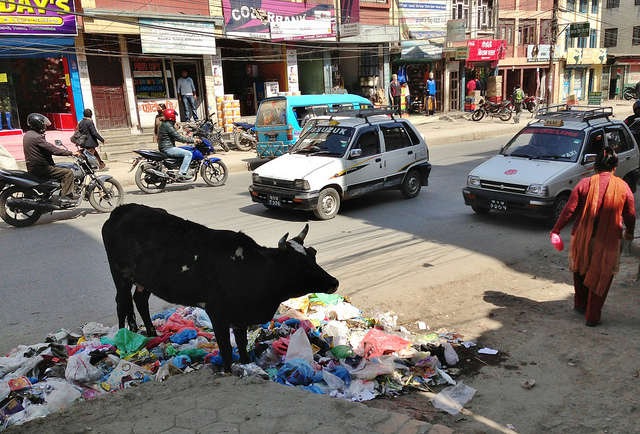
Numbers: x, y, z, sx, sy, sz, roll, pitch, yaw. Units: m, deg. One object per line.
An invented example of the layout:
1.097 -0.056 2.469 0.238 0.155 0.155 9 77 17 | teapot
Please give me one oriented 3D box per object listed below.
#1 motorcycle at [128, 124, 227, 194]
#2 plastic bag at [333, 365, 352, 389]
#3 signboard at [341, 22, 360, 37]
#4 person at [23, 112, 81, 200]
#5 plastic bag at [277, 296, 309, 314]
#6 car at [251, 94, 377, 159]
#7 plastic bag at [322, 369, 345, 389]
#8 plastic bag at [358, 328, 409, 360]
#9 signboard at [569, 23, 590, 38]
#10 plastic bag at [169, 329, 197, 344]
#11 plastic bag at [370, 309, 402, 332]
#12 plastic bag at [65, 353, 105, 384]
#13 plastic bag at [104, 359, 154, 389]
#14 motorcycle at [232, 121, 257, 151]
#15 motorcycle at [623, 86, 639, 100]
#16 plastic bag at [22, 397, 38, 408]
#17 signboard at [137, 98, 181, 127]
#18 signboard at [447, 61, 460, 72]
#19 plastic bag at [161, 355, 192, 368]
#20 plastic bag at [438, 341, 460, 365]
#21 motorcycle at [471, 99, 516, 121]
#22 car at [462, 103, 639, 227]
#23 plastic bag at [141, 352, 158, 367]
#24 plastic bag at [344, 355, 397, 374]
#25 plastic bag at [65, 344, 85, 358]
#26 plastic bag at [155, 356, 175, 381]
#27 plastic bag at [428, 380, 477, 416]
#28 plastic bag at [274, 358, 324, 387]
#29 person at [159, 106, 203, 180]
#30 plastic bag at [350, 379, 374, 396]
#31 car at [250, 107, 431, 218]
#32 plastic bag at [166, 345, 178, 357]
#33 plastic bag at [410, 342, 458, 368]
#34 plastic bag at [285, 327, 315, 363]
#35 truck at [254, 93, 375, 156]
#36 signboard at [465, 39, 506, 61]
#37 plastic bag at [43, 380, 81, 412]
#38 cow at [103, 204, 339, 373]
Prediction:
-4.320 -1.518 12.966 3.186 1.961 1.499 -13 40 -24 | motorcycle
0.246 1.794 4.926 0.153 0.070 0.184 -33 80 -38 | plastic bag
1.625 -10.542 24.518 0.416 0.702 1.341 -19 23 -42 | signboard
-6.001 -1.314 9.766 0.892 1.947 0.945 -18 22 -39 | person
-0.348 1.252 6.220 0.470 0.143 0.357 -8 14 -20 | plastic bag
0.063 -3.389 16.745 4.999 2.433 2.205 -16 18 -40 | car
0.129 1.791 4.782 0.291 0.182 0.143 23 -22 11 | plastic bag
0.734 1.536 5.378 0.620 0.117 0.425 -13 19 -28 | plastic bag
19.687 -14.368 33.437 1.277 0.974 1.082 5 19 26 | signboard
-1.691 1.497 5.488 0.220 0.060 0.153 -3 11 -20 | plastic bag
0.908 1.419 5.884 0.235 0.061 0.232 19 18 -43 | plastic bag
-2.560 1.677 4.764 0.356 0.244 0.244 -4 17 0 | plastic bag
-2.084 1.721 4.766 0.436 0.109 0.427 -4 13 -20 | plastic bag
-3.274 -3.862 18.806 0.871 1.389 2.207 13 15 -17 | motorcycle
29.327 -11.845 41.625 1.800 1.180 1.003 -4 25 8 | motorcycle
-2.924 1.865 4.402 0.093 0.040 0.164 -17 21 -37 | plastic bag
-7.350 -4.943 19.980 0.247 1.515 2.269 14 19 38 | signboard
9.418 -10.747 31.171 0.416 0.747 1.452 10 22 39 | signboard
-1.569 1.648 5.005 0.190 0.068 0.154 -4 20 -37 | plastic bag
1.551 1.649 5.241 0.184 0.091 0.247 21 32 -33 | plastic bag
10.939 -6.759 27.799 2.496 1.473 1.245 6 27 14 | motorcycle
5.233 -1.064 10.125 3.945 2.121 2.522 -19 24 -26 | car
-1.975 1.668 5.146 0.222 0.101 0.074 -30 36 -30 | plastic bag
0.650 1.697 5.020 0.327 0.102 0.256 1 16 8 | plastic bag
-2.888 1.582 5.187 0.126 0.039 0.128 14 20 34 | plastic bag
-1.707 1.690 4.858 0.080 0.028 0.244 6 22 8 | plastic bag
1.458 1.961 4.781 0.304 0.035 0.678 13 15 38 | plastic bag
-0.249 1.723 4.829 0.356 0.143 0.271 0 10 -7 | plastic bag
-3.953 -2.037 12.277 0.922 1.940 0.969 -5 17 -6 | person
0.448 1.863 4.809 0.300 0.073 0.145 -12 19 -27 | plastic bag
0.335 -1.460 11.049 4.080 2.098 2.469 -12 18 -34 | car
-1.760 1.595 5.200 0.109 0.110 0.034 6 -20 2 | plastic bag
1.347 1.668 5.289 0.345 0.139 0.275 4 43 1 | plastic bag
-0.217 1.493 5.159 0.418 0.459 0.267 3 1 3 | plastic bag
-0.119 -3.668 15.733 4.250 2.085 2.371 -18 25 -29 | truck
11.402 -11.688 30.492 2.399 0.885 2.252 -12 19 -38 | signboard
-2.646 1.804 4.503 0.301 0.114 0.453 -16 21 -36 | plastic bag
-1.179 0.861 4.962 2.720 1.620 0.880 11 14 15 | cow
